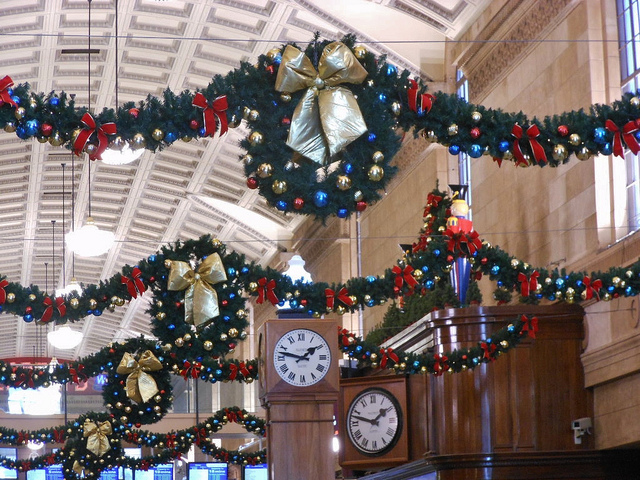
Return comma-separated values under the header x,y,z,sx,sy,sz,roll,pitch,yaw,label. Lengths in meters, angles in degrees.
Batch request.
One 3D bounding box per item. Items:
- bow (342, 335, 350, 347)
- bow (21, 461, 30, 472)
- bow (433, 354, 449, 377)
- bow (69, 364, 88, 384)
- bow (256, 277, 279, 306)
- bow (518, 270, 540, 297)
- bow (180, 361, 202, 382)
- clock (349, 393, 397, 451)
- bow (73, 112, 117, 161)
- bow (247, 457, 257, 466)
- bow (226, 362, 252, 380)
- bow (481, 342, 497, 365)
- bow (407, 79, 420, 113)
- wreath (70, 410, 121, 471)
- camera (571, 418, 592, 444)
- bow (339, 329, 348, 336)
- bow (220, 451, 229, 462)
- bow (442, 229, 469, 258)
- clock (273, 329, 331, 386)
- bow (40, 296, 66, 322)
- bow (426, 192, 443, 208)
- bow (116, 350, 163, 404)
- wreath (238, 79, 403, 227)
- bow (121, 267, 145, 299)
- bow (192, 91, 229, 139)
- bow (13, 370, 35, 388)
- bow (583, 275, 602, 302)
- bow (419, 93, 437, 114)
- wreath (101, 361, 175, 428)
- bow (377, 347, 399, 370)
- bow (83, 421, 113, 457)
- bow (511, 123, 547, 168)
x,y,z,sx,sy,sz,roll,pitch,yaw,label
0.405,1.567,26.669,0.101,0.147,0.038,-12,6,-33,bow
-5.871,4.505,34.533,0.161,0.186,0.379,4,-4,-9,bow
1.890,1.951,27.077,0.319,0.454,0.106,3,12,4,bow
-3.834,2.119,27.521,0.274,0.276,0.180,0,-5,33,bow
-0.755,0.730,25.139,0.394,0.463,0.121,8,6,4,bow
3.094,0.623,25.611,0.337,0.436,0.087,-4,4,11,bow
-1.985,2.012,26.708,0.298,0.307,0.081,2,31,-26,bow
0.969,3.276,31.033,1.067,1.096,0.125,-6,-7,32,clock
-3.059,-1.414,23.592,0.582,0.603,0.270,4,-4,-8,bow
-1.314,4.316,33.799,0.074,0.182,0.177,-5,0,-36,bow
-1.288,2.096,27.661,0.399,0.270,0.167,6,-5,-35,bow
2.618,1.719,26.673,0.252,0.255,0.178,6,-5,-33,bow
1.285,-1.987,23.858,0.162,0.439,0.093,3,-4,0,bow
-3.990,3.607,30.929,1.077,1.325,0.487,2,6,8,wreath
4.347,3.160,28.858,0.397,0.591,0.281,1,-3,3,camera
0.353,1.422,26.611,0.070,0.074,0.072,8,-18,-11,bow
-1.868,4.229,33.883,0.034,0.238,0.231,1,-4,37,bow
2.021,0.041,25.648,0.363,0.391,0.211,3,-4,5,bow
-0.265,1.759,25.547,0.650,0.877,0.525,5,-21,-17,clock
-3.885,0.993,25.127,0.329,0.330,0.158,-5,5,-33,bow
2.003,-0.675,29.904,0.221,0.226,0.075,13,-17,22,bow
-2.798,2.117,26.889,0.686,0.814,1.039,3,-4,-6,bow
0.008,-1.241,23.831,2.140,2.009,0.292,3,-4,-4,wreath
-2.735,0.611,25.325,0.297,0.392,0.068,-30,13,-9,bow
-1.498,-1.711,23.646,0.499,0.583,0.241,3,-4,-5,bow
-4.673,2.190,27.354,0.254,0.268,0.413,1,-4,22,bow
3.991,0.698,25.411,0.369,0.491,0.096,0,0,8,bow
1.479,-1.871,23.859,0.265,0.324,0.107,1,-4,-13,bow
-2.944,2.543,27.818,0.995,1.166,0.382,-3,26,-2,wreath
1.061,1.857,26.871,0.321,0.314,0.270,-1,2,-21,bow
-3.934,3.508,30.718,0.731,0.895,0.171,2,24,-2,bow
2.893,-1.269,24.019,0.486,0.668,0.110,-3,-21,-5,bow
